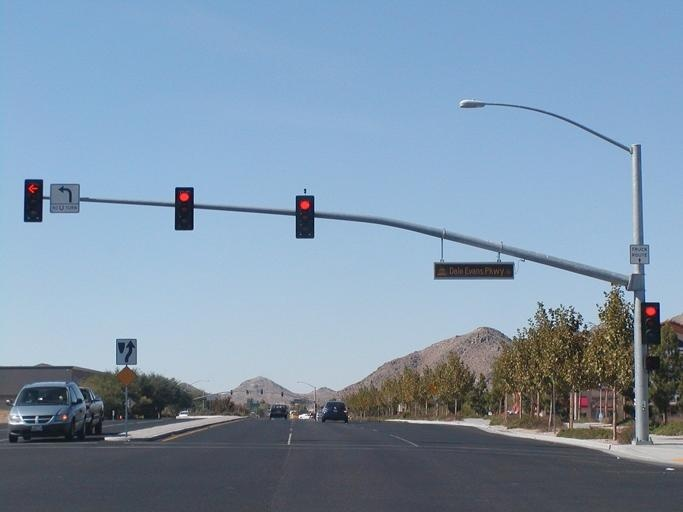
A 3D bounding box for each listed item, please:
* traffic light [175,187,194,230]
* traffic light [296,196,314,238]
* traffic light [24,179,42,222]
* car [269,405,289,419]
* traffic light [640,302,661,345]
[{"bbox_3d":[-6.086,-1.813,45.709,0.719,2.035,0.427,0,-31,-7],"label":"traffic light"},{"bbox_3d":[-1.425,-1.544,46.280,0.765,2.189,0.433,-1,-35,-1],"label":"traffic light"},{"bbox_3d":[-11.812,-2.238,45.407,0.680,0.359,2.038,0,-53,-16],"label":"traffic light"},{"bbox_3d":[-5.713,14.293,106.701,1.119,1.099,1.928,1,-1,-2],"label":"car"},{"bbox_3d":[12.693,2.699,48.693,0.711,0.637,2.118,7,-56,26],"label":"traffic light"}]
